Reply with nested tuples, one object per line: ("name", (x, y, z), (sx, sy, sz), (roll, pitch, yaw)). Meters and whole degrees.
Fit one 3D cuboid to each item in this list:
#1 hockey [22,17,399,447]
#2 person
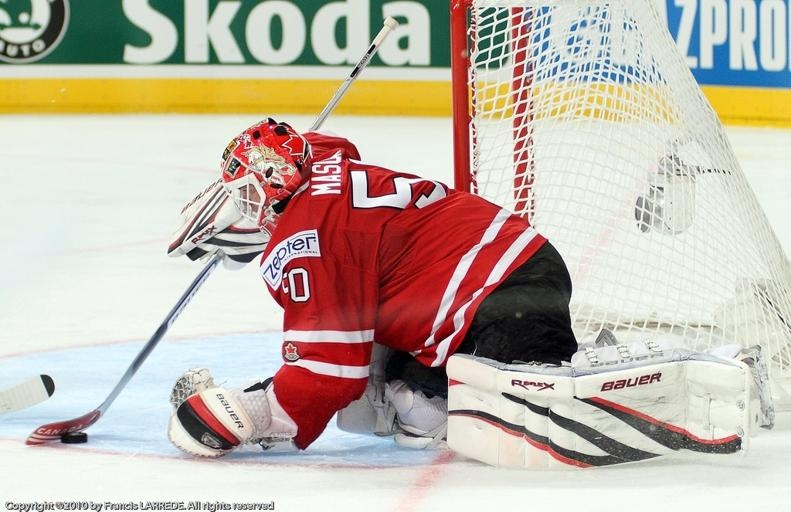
("hockey", (-0.999, -0.171, 4.517), (0.487, 2.722, 0.491), (40, 12, -15))
("person", (0.179, 0.144, 3.225), (1.836, 0.783, 1.106), (4, 26, 13))
